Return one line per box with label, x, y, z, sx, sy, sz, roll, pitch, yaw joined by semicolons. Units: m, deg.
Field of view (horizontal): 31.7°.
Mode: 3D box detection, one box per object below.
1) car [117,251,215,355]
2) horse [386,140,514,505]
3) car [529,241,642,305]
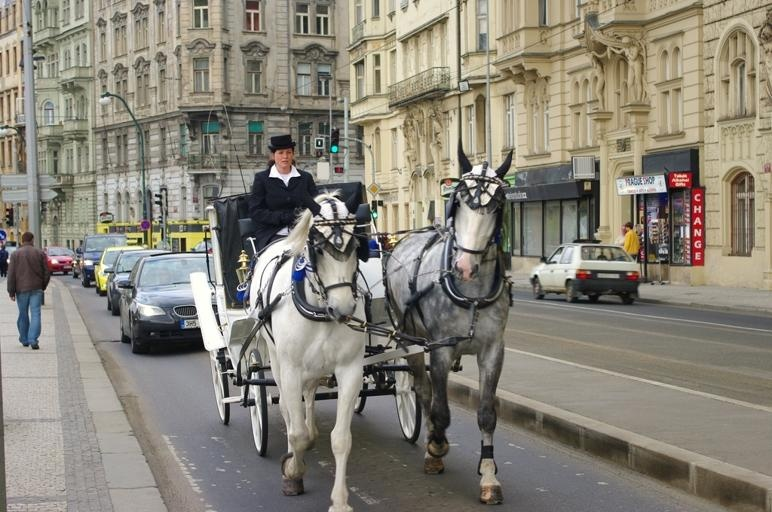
car;-6.349;1.225;37.283;1.788;1.359;3.739;0;-2;-22
horse;1.280;1.294;27.068;2.578;7.109;1.141;2;3;40
car;6.747;0.591;46.634;1.628;2.056;3.795;-1;2;-41
